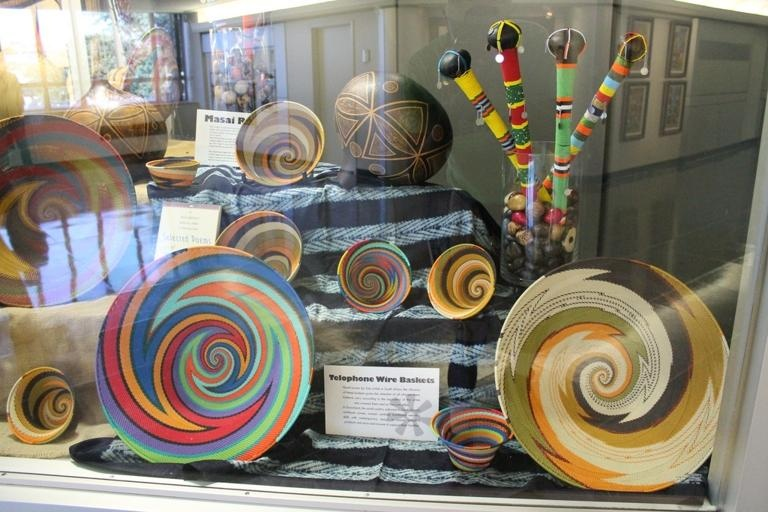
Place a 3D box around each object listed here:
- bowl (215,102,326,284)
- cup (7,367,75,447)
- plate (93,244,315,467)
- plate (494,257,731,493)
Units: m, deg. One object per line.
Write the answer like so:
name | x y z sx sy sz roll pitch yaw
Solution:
bowl | -0.225 -0.171 1.227 0.168 0.444 0.101 11 17 6
cup | -0.760 0.349 1.314 0.136 0.156 0.106 13 -15 2
plate | -0.372 0.204 1.172 0.446 0.431 0.126 1 12 5
plate | 0.435 0.229 1.097 0.422 0.428 0.134 0 12 -1
